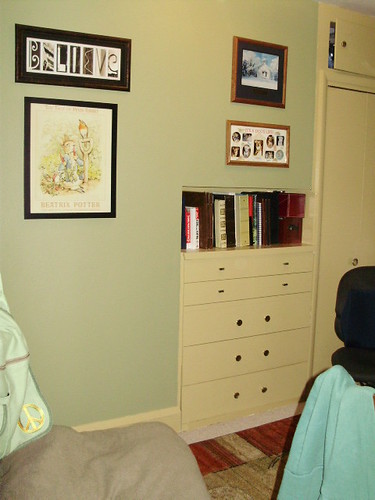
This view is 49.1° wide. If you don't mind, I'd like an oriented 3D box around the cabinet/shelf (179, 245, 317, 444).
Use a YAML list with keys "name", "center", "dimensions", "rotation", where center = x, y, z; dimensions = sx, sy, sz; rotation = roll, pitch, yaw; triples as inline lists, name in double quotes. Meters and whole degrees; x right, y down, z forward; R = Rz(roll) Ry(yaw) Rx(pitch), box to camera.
- name: "cabinet/shelf"
  center: [0.308, 0.517, 2.328]
  dimensions: [0.772, 0.955, 0.318]
  rotation: [-5, 8, -31]

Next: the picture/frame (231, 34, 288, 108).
- name: "picture/frame"
  center: [0.393, -1.013, 2.299]
  dimensions: [0.360, 0.435, 0.029]
  rotation: [-1, 7, -32]

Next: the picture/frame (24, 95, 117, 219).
- name: "picture/frame"
  center: [-0.548, -0.440, 1.872]
  dimensions: [0.424, 0.643, 0.019]
  rotation: [-7, 13, -31]
